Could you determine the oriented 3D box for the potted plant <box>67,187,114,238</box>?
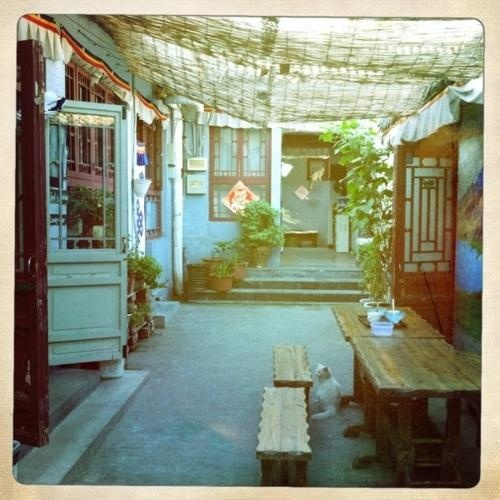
[{"bbox_3d":[-1.590,-0.404,4.625,0.631,0.527,0.311,3,5,31],"label":"potted plant"}]

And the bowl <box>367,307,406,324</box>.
[{"bbox_3d":[1.084,0.519,3.623,0.226,0.082,0.168,1,3,2],"label":"bowl"}]

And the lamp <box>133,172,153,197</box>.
[{"bbox_3d":[-1.566,-0.904,6.548,0.221,0.245,0.298,0,4,-9],"label":"lamp"}]

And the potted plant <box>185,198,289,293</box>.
[{"bbox_3d":[-0.277,-0.152,10.562,1.367,2.034,2.486,4,5,36],"label":"potted plant"}]
